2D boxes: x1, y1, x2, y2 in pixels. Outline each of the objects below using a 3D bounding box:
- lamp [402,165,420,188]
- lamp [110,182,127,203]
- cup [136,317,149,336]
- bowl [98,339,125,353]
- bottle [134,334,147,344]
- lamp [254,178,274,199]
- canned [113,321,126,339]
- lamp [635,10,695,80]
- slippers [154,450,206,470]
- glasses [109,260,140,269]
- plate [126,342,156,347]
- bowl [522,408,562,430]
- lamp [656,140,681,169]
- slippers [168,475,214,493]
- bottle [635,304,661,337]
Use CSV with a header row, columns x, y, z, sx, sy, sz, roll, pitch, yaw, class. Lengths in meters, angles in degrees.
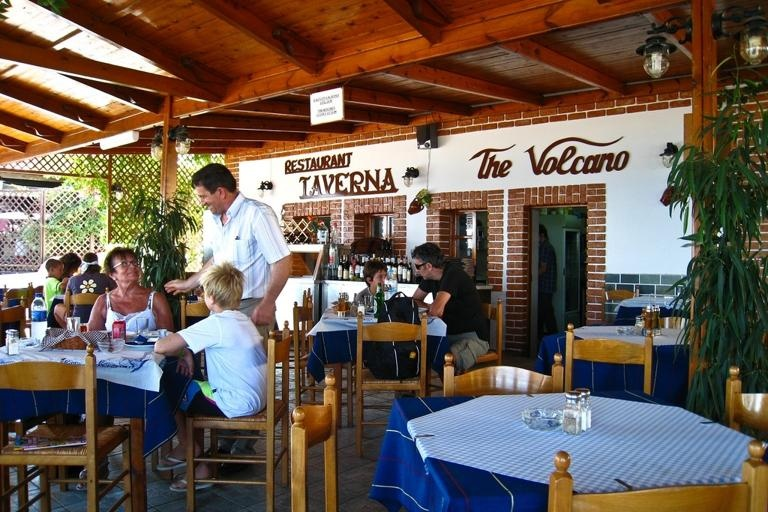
x,y,z,sx,sy,sz,roll,pitch,yaw,class
0.428,-1.272,9.784,0.311,0.402,0.251,6,-5,-41,lamp
-5.597,-1.346,13.002,0.274,0.194,0.370,9,32,-12,lamp
-1.867,0.555,4.765,0.096,0.149,0.095,1,-9,0,cup
-1.894,0.626,4.262,0.221,0.076,0.128,-1,-1,10,bowl
-1.737,0.607,4.416,0.070,0.061,0.057,-3,-4,38,bottle
-2.255,-1.261,11.656,0.317,0.327,0.244,3,6,23,lamp
-1.865,0.527,4.327,0.080,0.123,0.073,-1,-2,-13,canned
2.633,-1.991,5.798,0.433,0.609,0.352,-1,-9,14,lamp
-1.626,1.639,4.891,0.294,0.087,0.160,9,-12,-40,slippers
-2.098,0.079,4.986,0.222,0.066,0.122,-1,-2,-20,glasses
-1.711,0.632,4.330,0.183,0.029,0.167,-1,-1,-19,plate
0.844,0.861,3.240,0.222,0.090,0.176,-1,-1,-2,bowl
3.580,-1.290,7.744,0.228,0.328,0.303,-2,-2,24,lamp
-1.481,1.761,4.657,0.389,0.119,0.159,6,-9,-16,slippers
2.451,0.612,5.712,0.152,0.253,0.169,-5,8,-32,bottle
